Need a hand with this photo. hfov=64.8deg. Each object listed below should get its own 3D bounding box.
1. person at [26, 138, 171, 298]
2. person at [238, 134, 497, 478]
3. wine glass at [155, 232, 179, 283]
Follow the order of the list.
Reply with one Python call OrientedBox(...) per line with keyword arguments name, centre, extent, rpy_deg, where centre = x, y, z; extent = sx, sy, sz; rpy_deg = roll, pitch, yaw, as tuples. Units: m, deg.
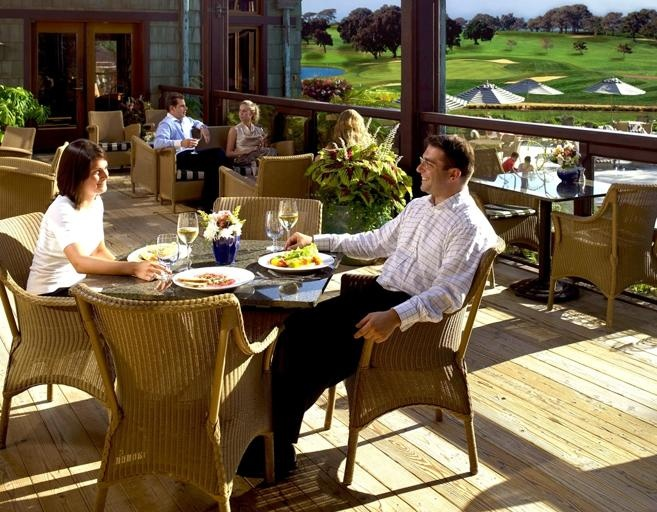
OrientedBox(name="person", centre=(-1.229, -0.178, 2.474), extent=(0.464, 0.748, 0.974), rpy_deg=(-9, 16, -30))
OrientedBox(name="person", centre=(0.272, 0.198, 2.353), extent=(0.891, 1.465, 0.902), rpy_deg=(4, 15, 15))
OrientedBox(name="wine glass", centre=(-0.700, -0.007, 2.231), extent=(0.089, 0.176, 0.231), rpy_deg=(-5, 14, -18))
